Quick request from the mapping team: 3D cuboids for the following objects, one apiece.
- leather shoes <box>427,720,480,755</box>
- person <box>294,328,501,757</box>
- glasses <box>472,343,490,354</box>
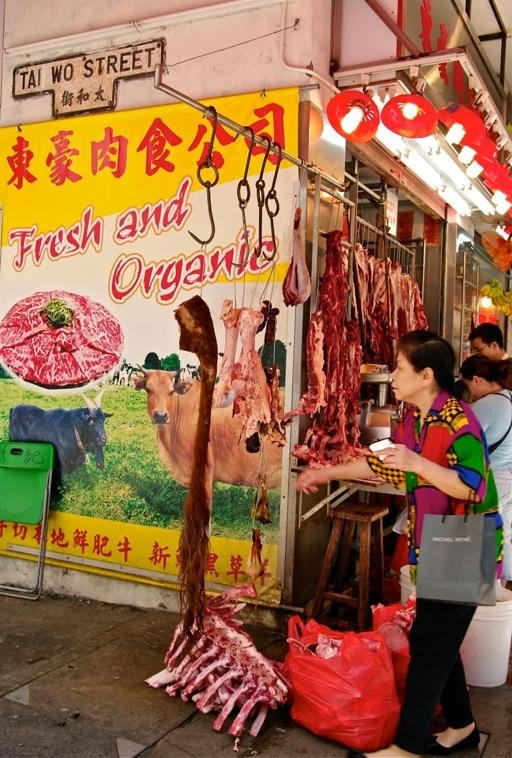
[{"bbox_3d":[0.719,1.352,2.285,0.228,0.098,0.087,2,-12,-13],"label":"leather shoes"},{"bbox_3d":[0.589,0.601,2.089,0.615,1.536,0.629,2,-4,-10],"label":"person"},{"bbox_3d":[1.641,-0.225,4.446,0.077,0.026,0.086,0,-51,41],"label":"glasses"}]
